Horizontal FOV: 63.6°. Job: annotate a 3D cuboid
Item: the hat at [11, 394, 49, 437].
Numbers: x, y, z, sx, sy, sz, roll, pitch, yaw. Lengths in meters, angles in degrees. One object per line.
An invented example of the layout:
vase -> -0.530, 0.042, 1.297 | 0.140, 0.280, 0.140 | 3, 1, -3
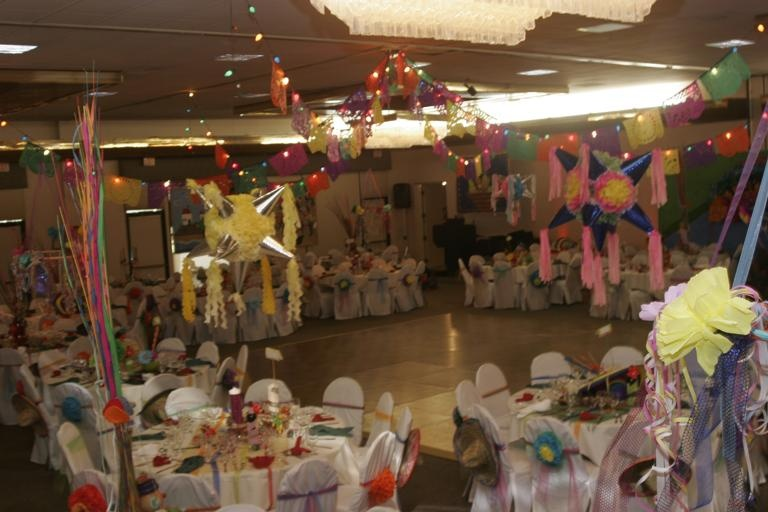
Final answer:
hat -> -3.873, 1.737, 6.777 | 0.560, 0.435, 0.185 | 4, 11, 42

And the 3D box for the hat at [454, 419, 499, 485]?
hat -> 0.747, 1.583, 5.061 | 0.232, 0.510, 0.388 | -17, -18, -20
